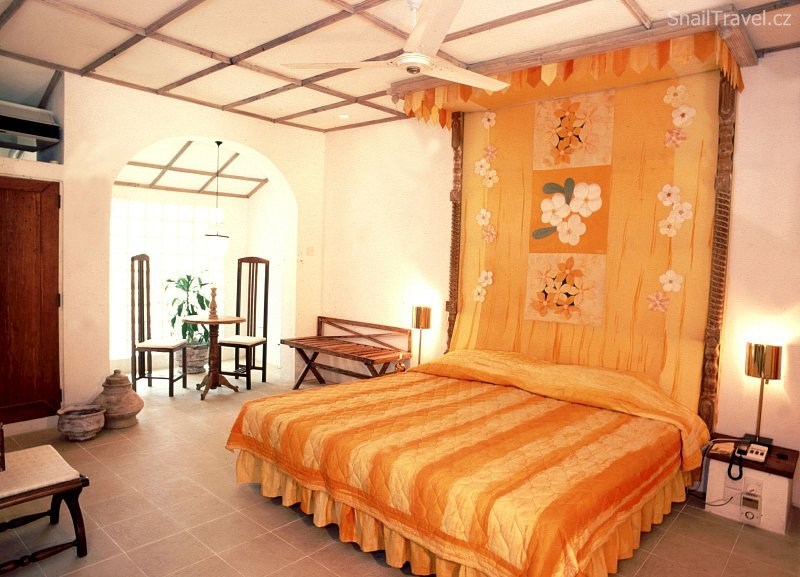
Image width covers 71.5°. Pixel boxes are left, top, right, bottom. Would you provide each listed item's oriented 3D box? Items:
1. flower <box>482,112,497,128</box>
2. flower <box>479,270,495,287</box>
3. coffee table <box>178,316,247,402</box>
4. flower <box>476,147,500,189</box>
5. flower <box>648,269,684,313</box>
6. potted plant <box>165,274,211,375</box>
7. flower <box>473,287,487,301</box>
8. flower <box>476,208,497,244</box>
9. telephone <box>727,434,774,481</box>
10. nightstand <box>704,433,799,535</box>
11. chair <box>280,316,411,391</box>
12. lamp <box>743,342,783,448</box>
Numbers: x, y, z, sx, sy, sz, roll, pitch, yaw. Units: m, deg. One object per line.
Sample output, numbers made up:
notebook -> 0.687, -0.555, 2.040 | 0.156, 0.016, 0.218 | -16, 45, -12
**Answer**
flower -> 0.929, -1.753, 5.799 | 0.039, 0.138, 0.138 | 2, 5, -43
flower -> 0.903, -0.097, 5.804 | 0.152, 0.146, 0.047 | 24, 16, 41
coffee table -> -2.360, 0.787, 6.913 | 0.943, 1.007, 0.885 | -3, -19, -6
flower -> 0.919, -1.254, 5.824 | 0.265, 0.378, 0.110 | 1, 2, 42
flower -> 2.341, 0.026, 4.893 | 0.251, 0.374, 0.077 | 5, 15, 15
potted plant -> -3.028, 0.606, 8.020 | 0.607, 1.278, 0.615 | 4, 9, 38
flower -> 0.836, 0.070, 5.833 | 0.158, 0.159, 0.032 | 10, 16, 31
flower -> 0.899, -0.652, 5.807 | 0.104, 0.322, 0.208 | 5, -15, -44
telephone -> 2.670, 1.290, 4.273 | 0.385, 0.059, 0.215 | -32, 24, -27
nightstand -> 2.669, 1.501, 4.418 | 0.788, 0.714, 0.588 | 2, 1, 38
chair -> -0.699, 0.899, 6.801 | 1.558, 0.861, 0.618 | 5, 5, 41
lamp -> 2.886, 0.824, 4.485 | 0.256, 0.815, 0.291 | 11, 17, 33
